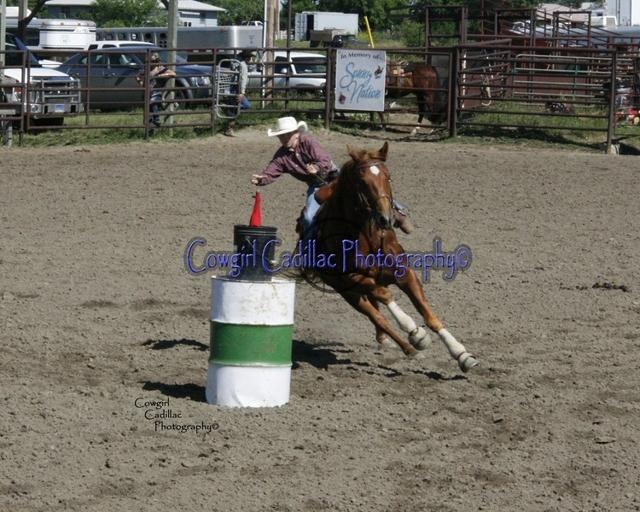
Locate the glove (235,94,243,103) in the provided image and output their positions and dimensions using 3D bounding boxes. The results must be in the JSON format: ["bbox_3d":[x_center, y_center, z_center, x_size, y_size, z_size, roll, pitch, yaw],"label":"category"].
[{"bbox_3d":[-1.542,-3.032,20.715,0.142,0.063,0.154,3,-34,-5],"label":"glove"}]

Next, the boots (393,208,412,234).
[{"bbox_3d":[0.955,-0.368,11.964,0.322,0.115,0.174,39,16,-20],"label":"boots"}]

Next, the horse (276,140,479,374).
[{"bbox_3d":[0.474,-0.048,11.390,1.404,2.346,0.963,8,14,41],"label":"horse"}]

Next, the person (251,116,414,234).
[{"bbox_3d":[0.387,-0.780,12.375,2.361,1.294,0.968,2,-13,-38],"label":"person"}]

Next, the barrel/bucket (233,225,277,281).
[{"bbox_3d":[-0.811,-0.021,10.832,0.603,0.551,0.509,1,-1,5],"label":"barrel/bucket"}]
